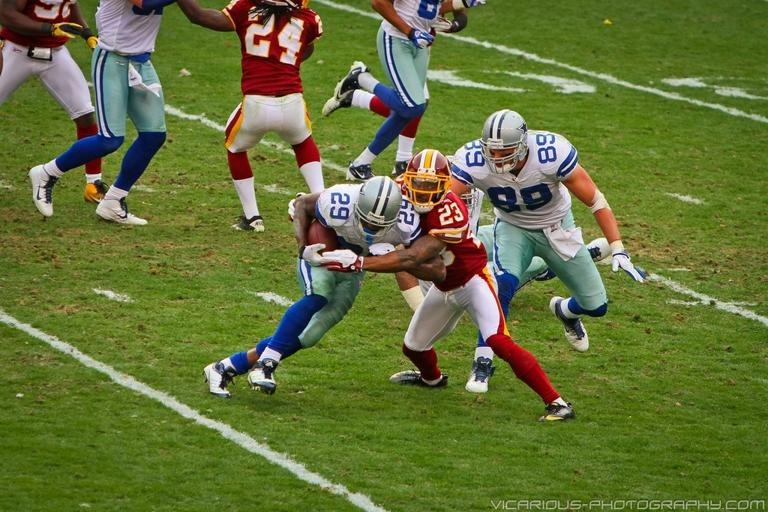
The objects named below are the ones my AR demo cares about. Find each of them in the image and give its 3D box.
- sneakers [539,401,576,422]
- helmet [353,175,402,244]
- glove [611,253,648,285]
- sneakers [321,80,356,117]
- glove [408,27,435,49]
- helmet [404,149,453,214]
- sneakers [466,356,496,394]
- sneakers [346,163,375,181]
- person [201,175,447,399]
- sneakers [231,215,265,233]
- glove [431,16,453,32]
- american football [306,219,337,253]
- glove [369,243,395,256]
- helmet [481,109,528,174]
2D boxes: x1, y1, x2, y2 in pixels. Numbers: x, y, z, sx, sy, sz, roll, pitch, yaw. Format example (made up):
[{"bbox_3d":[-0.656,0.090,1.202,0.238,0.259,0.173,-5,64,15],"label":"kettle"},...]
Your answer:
[{"bbox_3d":[1.346,1.215,9.314,0.327,0.119,0.116,-5,7,-5],"label":"sneakers"},{"bbox_3d":[-0.068,-0.352,9.166,0.386,0.433,0.413,13,-22,-6],"label":"helmet"},{"bbox_3d":[1.965,0.087,9.758,0.275,0.210,0.379,18,20,0],"label":"glove"},{"bbox_3d":[-0.523,-1.703,12.919,0.276,0.546,0.179,9,53,-28],"label":"sneakers"},{"bbox_3d":[0.369,-2.196,12.069,0.302,0.176,0.153,-1,29,-40],"label":"glove"},{"bbox_3d":[0.332,-0.582,9.317,0.395,0.367,0.477,7,36,10],"label":"helmet"},{"bbox_3d":[0.786,0.949,9.595,0.151,0.164,0.394,28,20,-2],"label":"sneakers"},{"bbox_3d":[-0.265,-0.863,12.412,0.459,0.131,0.204,0,-13,-4],"label":"sneakers"},{"bbox_3d":[-0.454,0.327,9.829,1.542,2.037,1.182,12,24,-42],"label":"person"},{"bbox_3d":[-1.286,-0.313,11.546,0.349,0.129,0.135,5,8,8],"label":"sneakers"},{"bbox_3d":[0.590,-2.416,12.426,0.165,0.084,0.191,12,22,-9],"label":"glove"},{"bbox_3d":[-0.489,-0.171,9.295,0.251,0.144,0.208,45,26,20],"label":"american football"},{"bbox_3d":[-0.018,-0.045,9.197,0.183,0.097,0.134,13,21,-9],"label":"glove"},{"bbox_3d":[1.025,-0.991,9.833,0.414,0.428,0.496,9,57,19],"label":"helmet"}]
